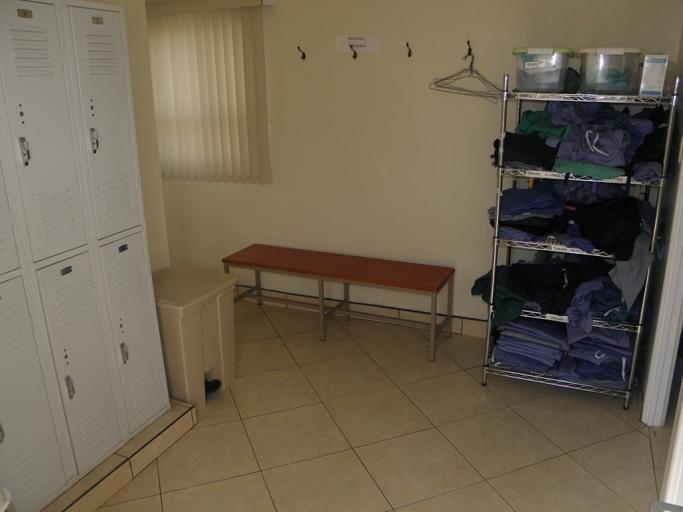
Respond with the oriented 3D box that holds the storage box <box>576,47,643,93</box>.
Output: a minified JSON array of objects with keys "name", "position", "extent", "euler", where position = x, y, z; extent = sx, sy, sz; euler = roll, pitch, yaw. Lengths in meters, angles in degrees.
[{"name":"storage box","position":[1.710,-1.151,3.361],"extent":[0.326,0.234,0.335],"euler":[5,16,19]}]

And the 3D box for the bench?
[{"name":"bench","position":[0.013,0.329,4.675],"extent":[1.896,0.629,0.664],"euler":[9,22,20]}]

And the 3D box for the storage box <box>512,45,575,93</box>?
[{"name":"storage box","position":[1.301,-1.132,3.406],"extent":[0.414,0.278,0.293],"euler":[8,22,24]}]

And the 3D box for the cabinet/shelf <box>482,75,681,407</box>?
[{"name":"cabinet/shelf","position":[1.604,-0.114,3.673],"extent":[1.126,2.182,0.643],"euler":[7,22,17]}]

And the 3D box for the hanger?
[{"name":"hanger","position":[1.009,-1.398,4.106],"extent":[0.553,0.272,0.187],"euler":[12,23,16]}]
